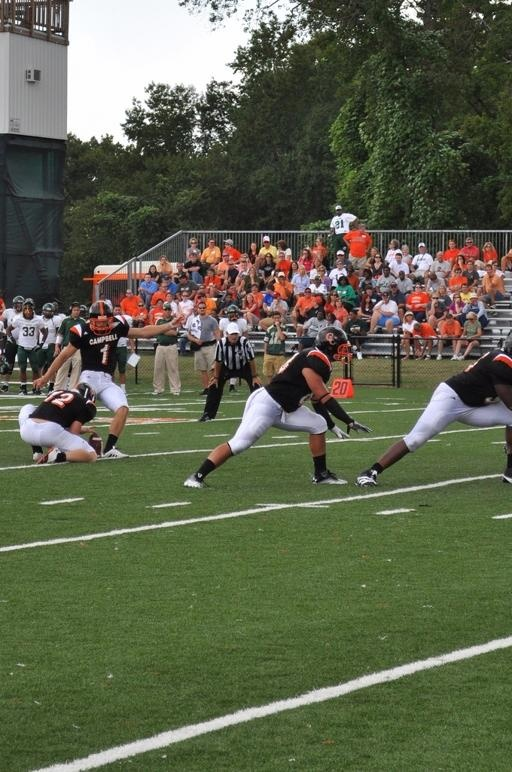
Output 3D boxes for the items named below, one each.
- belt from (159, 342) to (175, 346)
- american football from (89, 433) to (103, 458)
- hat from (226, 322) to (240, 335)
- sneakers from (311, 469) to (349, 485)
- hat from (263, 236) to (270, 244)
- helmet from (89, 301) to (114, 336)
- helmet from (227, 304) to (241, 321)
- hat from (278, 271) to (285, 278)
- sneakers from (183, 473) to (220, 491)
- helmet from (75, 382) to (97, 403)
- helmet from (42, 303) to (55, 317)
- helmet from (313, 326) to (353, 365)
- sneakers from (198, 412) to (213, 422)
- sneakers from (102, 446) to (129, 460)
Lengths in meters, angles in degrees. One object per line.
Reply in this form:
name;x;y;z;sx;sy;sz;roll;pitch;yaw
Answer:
belt;-1.728;-0.771;20.877;0.274;0.074;0.104;0;3;-7
american football;-1.705;0.633;11.534;0.173;0.216;0.201;4;-14;-6
hat;-0.333;-0.790;15.314;0.191;0.135;0.262;0;14;-12
sneakers;0.635;0.809;9.539;0.335;0.138;0.115;0;0;2
hat;0.238;-3.754;28.217;0.194;0.173;0.317;0;-18;5
helmet;-1.631;-0.704;11.420;0.253;0.347;0.353;0;3;-7
helmet;-0.415;-1.238;18.600;0.280;0.275;0.343;-1;3;-3
hat;0.574;-2.628;25.993;0.262;0.129;0.408;1;4;3
sneakers;-0.524;0.811;9.205;0.180;0.131;0.174;0;3;-3
helmet;-1.720;0.070;10.940;0.162;0.200;0.185;30;-6;16
helmet;-4.184;-1.503;21.826;0.250;0.264;0.322;1;14;-7
helmet;0.673;-0.358;9.291;0.330;0.277;0.236;1;12;-16
sneakers;-0.732;0.476;15.995;0.280;0.180;0.091;3;5;-2
sneakers;-1.491;0.714;11.501;0.308;0.133;0.101;-1;12;-12
